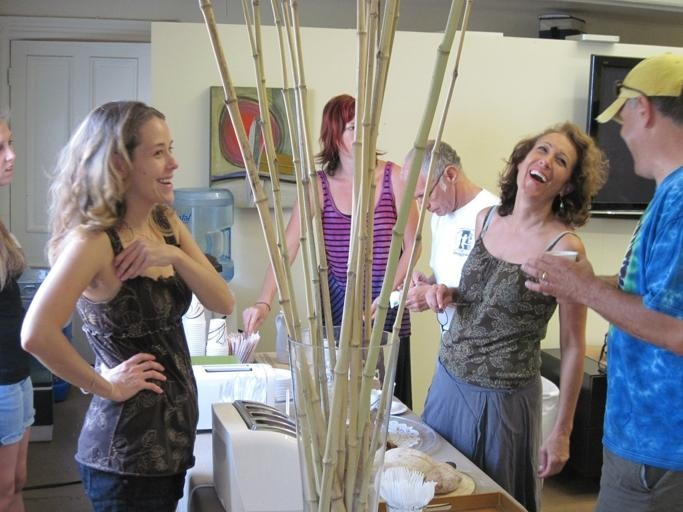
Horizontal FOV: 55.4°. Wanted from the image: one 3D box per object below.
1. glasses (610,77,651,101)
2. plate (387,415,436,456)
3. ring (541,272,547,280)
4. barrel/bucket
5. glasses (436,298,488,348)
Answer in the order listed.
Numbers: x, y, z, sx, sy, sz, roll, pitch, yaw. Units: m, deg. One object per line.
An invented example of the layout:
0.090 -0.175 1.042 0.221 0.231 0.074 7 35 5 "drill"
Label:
0.946 -0.548 2.115 0.068 0.038 0.091 -10 23 -34 "glasses"
0.237 0.609 2.213 0.179 0.026 0.175 -6 19 -37 "plate"
0.654 0.066 2.110 0.005 0.019 0.019 12 9 -12 "ring"
-0.835 -0.126 4.033 0.317 0.529 0.353 1 6 19 "barrel/bucket"
0.451 0.263 2.483 0.051 0.158 0.164 13 -33 -15 "glasses"
